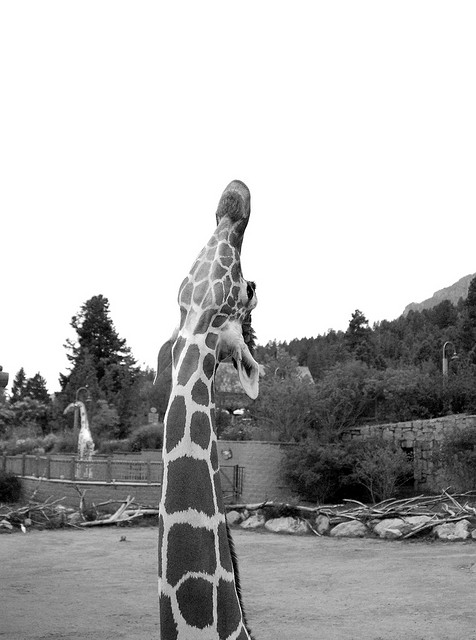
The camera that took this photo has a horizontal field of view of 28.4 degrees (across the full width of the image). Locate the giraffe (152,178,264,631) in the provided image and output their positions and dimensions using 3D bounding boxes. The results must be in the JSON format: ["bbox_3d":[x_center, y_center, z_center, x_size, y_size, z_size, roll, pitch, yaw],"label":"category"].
[{"bbox_3d":[-0.148,0.414,4.971,0.500,2.472,0.737,0,-3,1],"label":"giraffe"}]
